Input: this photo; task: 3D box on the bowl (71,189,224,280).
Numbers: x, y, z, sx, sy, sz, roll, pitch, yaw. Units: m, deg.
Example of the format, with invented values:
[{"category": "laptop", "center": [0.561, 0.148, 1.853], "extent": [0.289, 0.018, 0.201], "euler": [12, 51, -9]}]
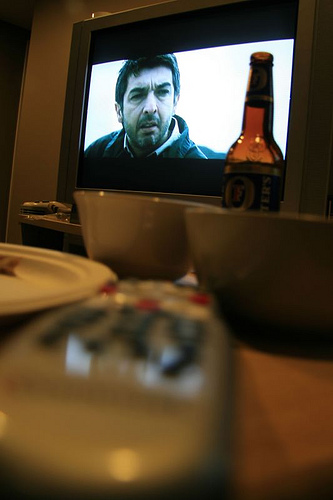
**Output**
[{"category": "bowl", "center": [-0.011, -0.002, 0.186], "extent": [0.055, 0.030, 0.055], "euler": [5, -1, 0]}]

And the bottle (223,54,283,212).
[{"category": "bottle", "center": [0.065, -0.083, 0.275], "extent": [0.045, 0.101, 0.129], "euler": [6, 11, 14]}]

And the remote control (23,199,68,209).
[{"category": "remote control", "center": [-0.558, -0.209, 1.707], "extent": [0.215, 0.053, 0.128], "euler": [-2, 8, -20]}]

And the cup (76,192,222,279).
[{"category": "cup", "center": [-0.014, -0.007, 0.225], "extent": [0.076, 0.047, 0.075], "euler": [3, 0, 0]}]
